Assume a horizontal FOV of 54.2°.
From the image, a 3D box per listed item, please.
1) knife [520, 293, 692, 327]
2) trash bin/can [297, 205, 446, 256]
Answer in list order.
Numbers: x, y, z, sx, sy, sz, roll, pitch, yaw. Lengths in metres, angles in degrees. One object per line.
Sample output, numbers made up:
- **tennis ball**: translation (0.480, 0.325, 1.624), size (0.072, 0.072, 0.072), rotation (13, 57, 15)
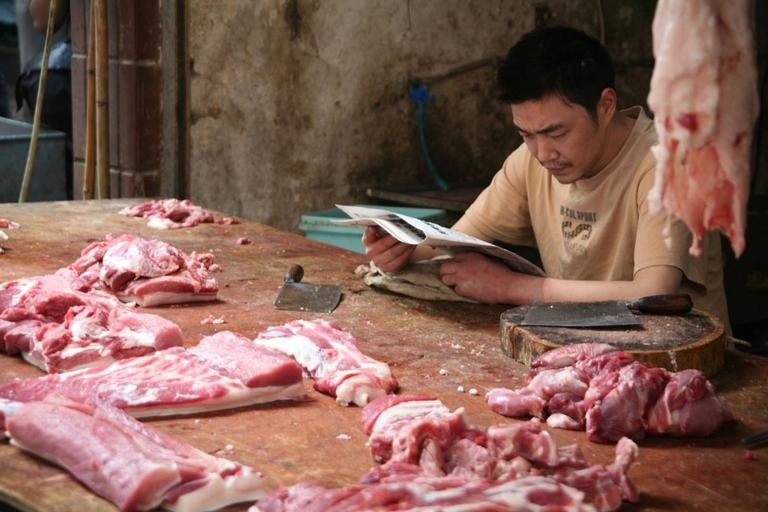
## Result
- **knife**: translation (0.814, 0.213, 2.768), size (0.462, 0.063, 0.235), rotation (0, 6, 6)
- **trash bin/can**: translation (-0.207, -0.193, 5.563), size (0.785, 0.229, 0.572), rotation (7, 11, 10)
